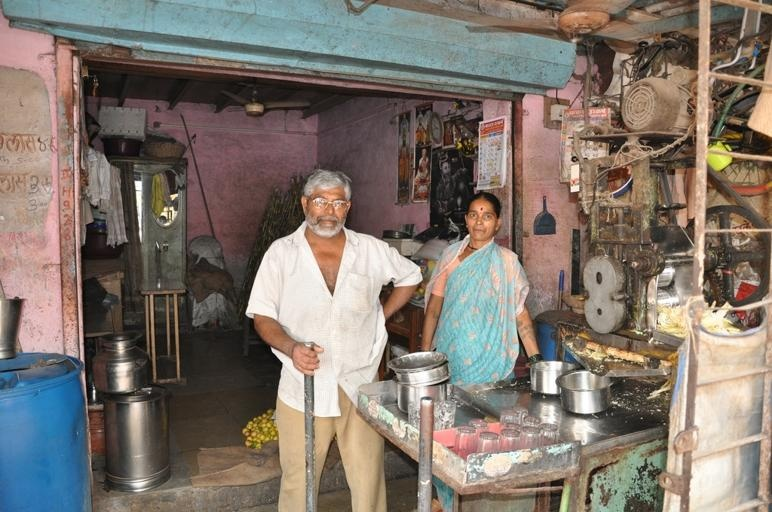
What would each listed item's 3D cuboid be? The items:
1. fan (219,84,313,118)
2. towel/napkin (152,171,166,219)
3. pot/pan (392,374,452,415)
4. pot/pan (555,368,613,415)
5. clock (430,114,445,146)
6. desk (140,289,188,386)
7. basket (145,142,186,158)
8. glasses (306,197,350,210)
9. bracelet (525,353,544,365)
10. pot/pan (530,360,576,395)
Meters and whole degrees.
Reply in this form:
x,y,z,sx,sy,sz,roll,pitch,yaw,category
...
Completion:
x,y,z,sx,sy,sz,roll,pitch,yaw,category
-1.417,-1.845,7.659,1.015,0.360,0.912,-3,3,-28,fan
-3.268,-0.877,9.141,0.218,0.651,0.106,-4,0,-19,towel/napkin
0.190,0.785,3.585,0.318,0.183,0.315,4,-2,-45,pot/pan
1.154,0.784,3.664,0.313,0.237,0.218,-4,0,-41,pot/pan
0.598,-1.447,7.245,0.037,0.308,0.313,-8,30,-18,clock
-2.693,0.993,7.685,0.463,0.901,1.037,-2,3,-17,desk
-3.208,-1.498,9.121,0.392,0.135,0.309,5,8,44,basket
-0.340,-0.325,3.932,0.236,0.076,0.074,-3,0,-14,glasses
0.976,0.660,4.170,0.104,0.098,0.092,-1,-1,29,bracelet
1.063,0.752,3.879,0.337,0.159,0.272,-7,-13,38,pot/pan
